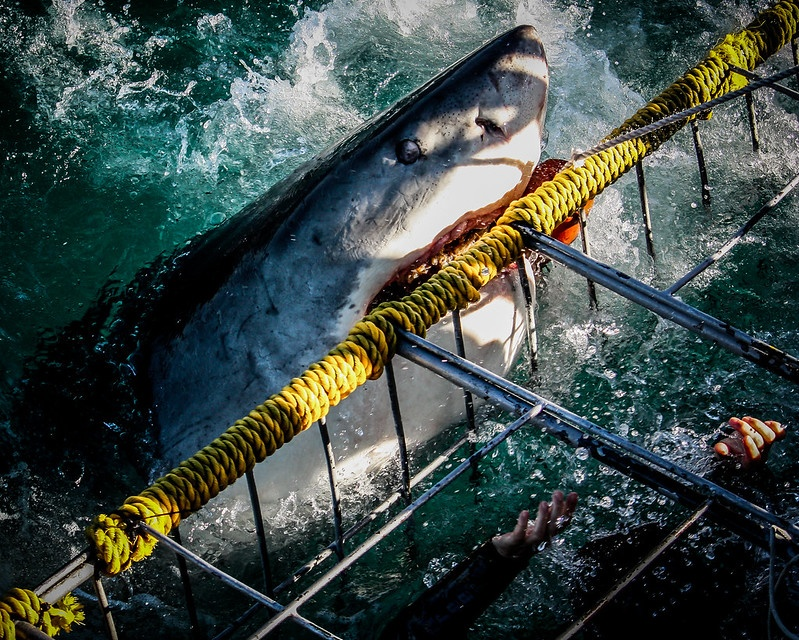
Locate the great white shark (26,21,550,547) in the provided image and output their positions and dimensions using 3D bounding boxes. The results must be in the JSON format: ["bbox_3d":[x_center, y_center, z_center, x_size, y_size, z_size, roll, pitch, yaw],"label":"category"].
[{"bbox_3d":[-0.242,-0.320,4.242,0.840,2.481,1.548,45,17,-22],"label":"great white shark"}]
